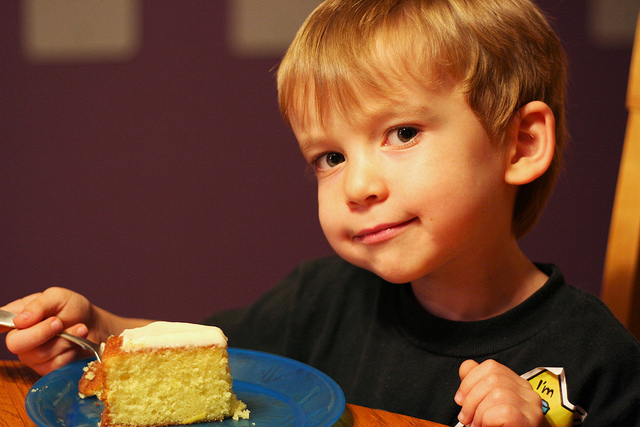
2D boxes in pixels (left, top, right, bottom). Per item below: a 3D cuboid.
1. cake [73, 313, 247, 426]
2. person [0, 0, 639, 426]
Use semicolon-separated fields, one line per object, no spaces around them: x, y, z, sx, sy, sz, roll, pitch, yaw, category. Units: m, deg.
-0.426;0.399;1.857;0.316;0.269;0.187;-2;88;4;cake
0.355;0.003;2.011;1.195;0.987;0.846;11;47;21;person
